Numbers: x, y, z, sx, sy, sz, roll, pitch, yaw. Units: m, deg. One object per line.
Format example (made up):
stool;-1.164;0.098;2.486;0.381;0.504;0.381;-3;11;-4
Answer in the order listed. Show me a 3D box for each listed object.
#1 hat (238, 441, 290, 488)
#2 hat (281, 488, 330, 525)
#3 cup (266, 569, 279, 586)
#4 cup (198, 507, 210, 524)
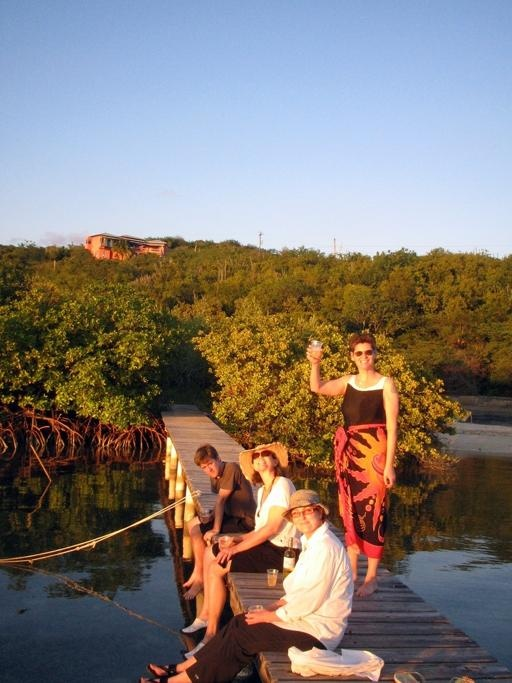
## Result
hat;0.044;0.923;5.383;0.399;0.421;0.131;-19;24;-9
hat;0.285;0.918;4.005;0.217;0.142;0.274;-5;-38;5
cup;0.117;1.764;5.098;0.125;0.123;0.107;0;-3;9
cup;-0.505;1.659;6.439;0.103;0.080;0.094;-1;-4;0
